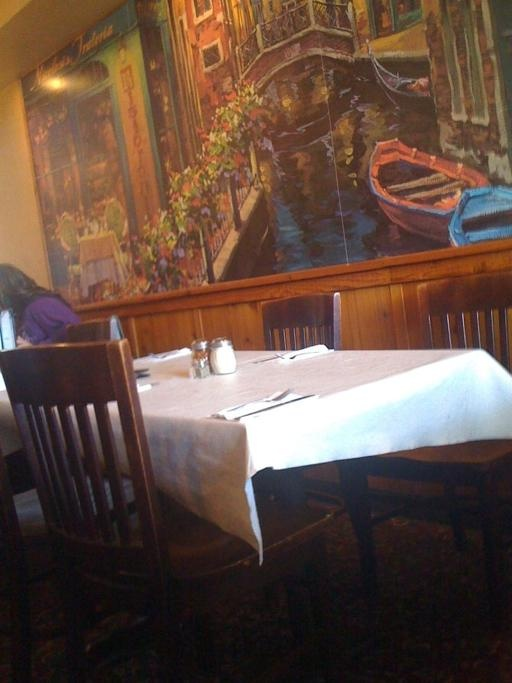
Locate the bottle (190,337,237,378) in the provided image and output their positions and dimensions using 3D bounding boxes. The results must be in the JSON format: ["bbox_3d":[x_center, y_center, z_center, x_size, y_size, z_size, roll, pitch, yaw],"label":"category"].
[{"bbox_3d":[-0.121,0.044,1.493,0.111,0.139,0.085,-1,1,18],"label":"bottle"}]
